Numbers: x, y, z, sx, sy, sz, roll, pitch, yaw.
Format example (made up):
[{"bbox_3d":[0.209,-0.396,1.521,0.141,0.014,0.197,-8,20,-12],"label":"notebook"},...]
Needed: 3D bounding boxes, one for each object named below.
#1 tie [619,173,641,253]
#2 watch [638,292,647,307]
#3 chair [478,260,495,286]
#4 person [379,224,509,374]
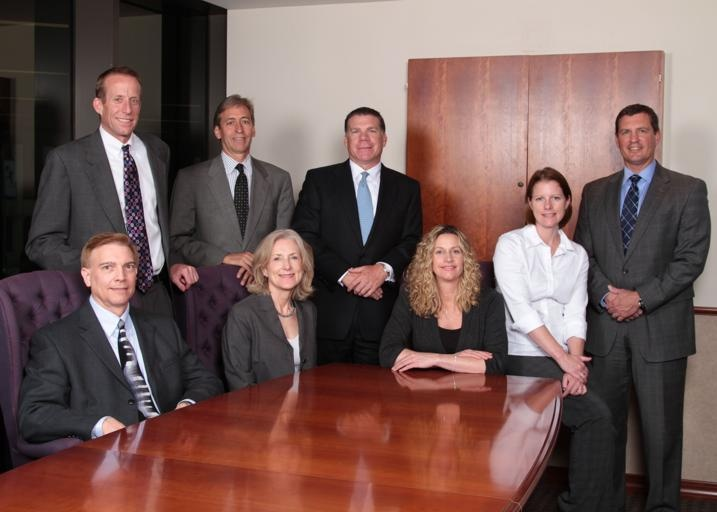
[{"bbox_3d":[1.757,-0.295,3.681,0.107,0.568,0.046,3,-13,23],"label":"tie"},{"bbox_3d":[1.764,0.279,3.534,0.026,0.074,0.068,-2,1,-12],"label":"watch"},{"bbox_3d":[0.917,0.127,3.970,0.137,0.200,0.159,1,-2,21],"label":"chair"},{"bbox_3d":[0.502,0.287,3.301,0.780,1.215,0.683,1,-6,8],"label":"person"}]
